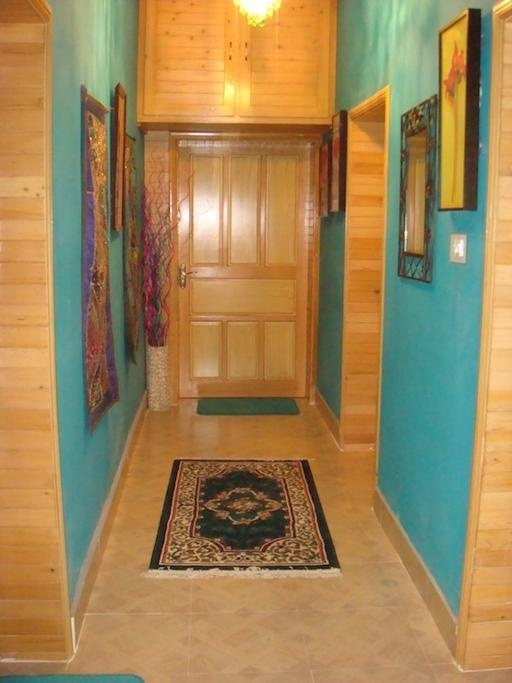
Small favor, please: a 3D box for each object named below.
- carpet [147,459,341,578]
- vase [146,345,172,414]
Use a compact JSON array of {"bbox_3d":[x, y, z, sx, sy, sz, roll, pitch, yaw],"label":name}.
[{"bbox_3d":[-0.085,0.910,2.882,0.898,0.057,1.339,1,5,-1],"label":"carpet"},{"bbox_3d":[-0.865,0.335,4.676,0.202,0.583,0.202,0,4,-14],"label":"vase"}]
